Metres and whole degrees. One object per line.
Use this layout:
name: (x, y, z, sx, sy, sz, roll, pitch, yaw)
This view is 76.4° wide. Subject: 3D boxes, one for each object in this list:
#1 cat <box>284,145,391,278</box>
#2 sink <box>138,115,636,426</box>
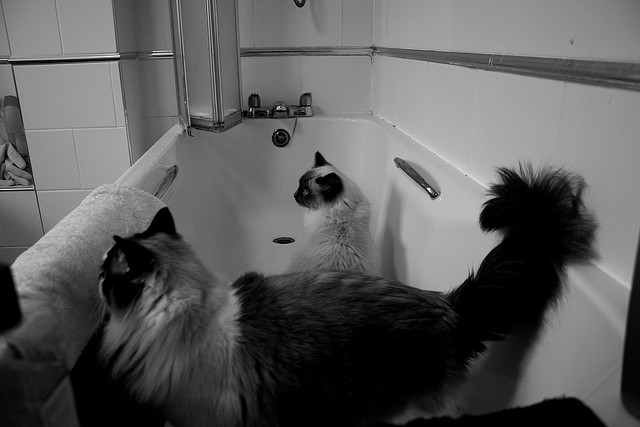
cat: (-0.009, 0.059, 1.723, 0.278, 0.669, 0.224, -25, 54, 6)
sink: (0.158, 0.129, 1.232, 0.657, 0.374, 1.192, -10, 18, -6)
